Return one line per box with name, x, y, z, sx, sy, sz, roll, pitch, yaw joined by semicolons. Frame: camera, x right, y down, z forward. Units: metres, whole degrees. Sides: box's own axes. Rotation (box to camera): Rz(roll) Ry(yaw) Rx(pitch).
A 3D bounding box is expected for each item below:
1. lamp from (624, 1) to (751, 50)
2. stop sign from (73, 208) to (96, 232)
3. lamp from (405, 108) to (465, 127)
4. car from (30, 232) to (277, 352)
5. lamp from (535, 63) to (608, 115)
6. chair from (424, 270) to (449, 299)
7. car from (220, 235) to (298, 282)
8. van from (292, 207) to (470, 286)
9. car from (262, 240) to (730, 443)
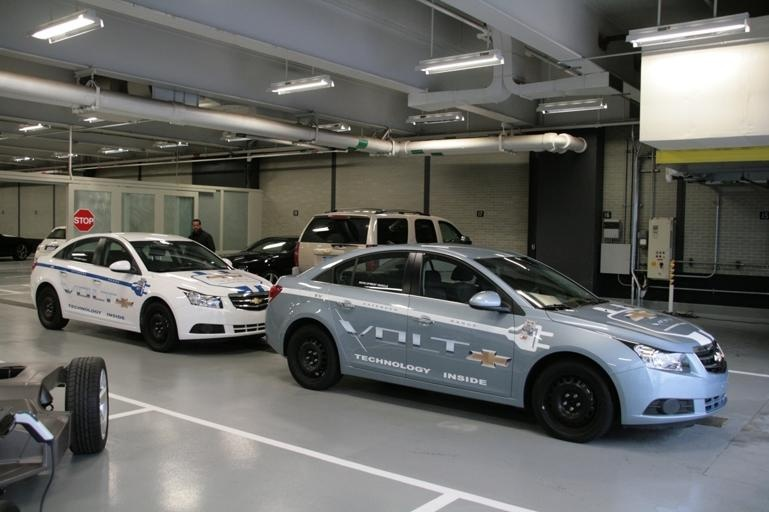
lamp;4.753;-3.486;7.814;1.556;0.279;1.258;4;5;26
stop sign;-10.573;-1.244;17.135;0.151;0.822;0.913;-1;4;34
lamp;1.451;-4.184;14.697;1.441;0.309;1.000;-1;-1;21
car;-4.542;0.577;9.437;4.543;1.435;2.284;2;0;27
lamp;4.418;-3.833;11.851;1.430;0.626;0.416;-5;8;16
chair;0.610;0.364;6.181;0.281;0.349;0.329;2;-6;-9
car;-3.545;0.059;15.309;1.258;1.006;2.767;2;-1;44
van;0.417;-0.134;13.359;2.634;2.149;5.268;4;7;38
car;1.144;0.921;6.646;5.430;1.704;2.463;1;0;28
